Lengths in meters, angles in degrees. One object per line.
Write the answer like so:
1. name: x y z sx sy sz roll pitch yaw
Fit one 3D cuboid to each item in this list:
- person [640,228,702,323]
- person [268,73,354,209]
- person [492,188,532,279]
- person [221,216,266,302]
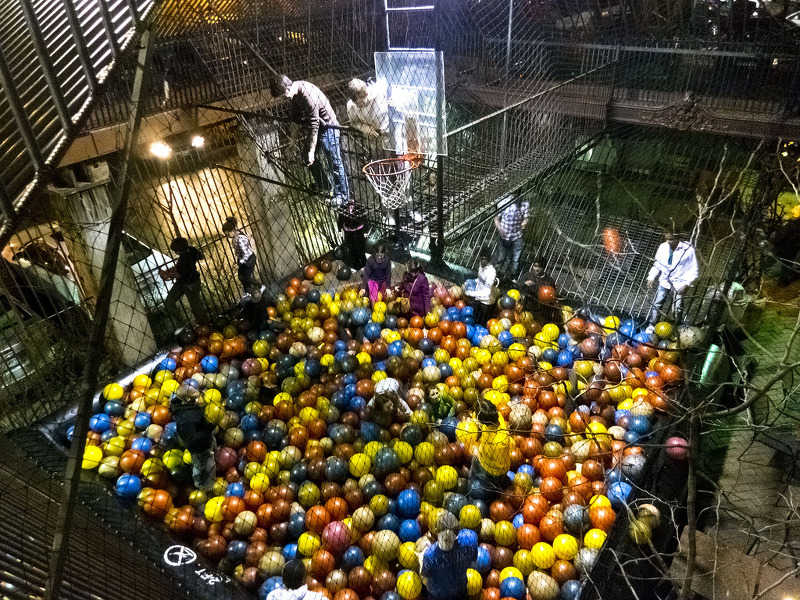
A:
1. person: 4.437 -0.219 9.418 0.690 2.197 0.551 19 50 34
2. person: -1.559 -2.736 9.951 0.990 2.432 1.149 -25 42 -7
3. person: 1.977 -1.096 10.363 0.528 1.873 0.567 7 30 13
4. person: -2.808 -0.708 10.452 0.516 1.682 0.586 0 48 -1
